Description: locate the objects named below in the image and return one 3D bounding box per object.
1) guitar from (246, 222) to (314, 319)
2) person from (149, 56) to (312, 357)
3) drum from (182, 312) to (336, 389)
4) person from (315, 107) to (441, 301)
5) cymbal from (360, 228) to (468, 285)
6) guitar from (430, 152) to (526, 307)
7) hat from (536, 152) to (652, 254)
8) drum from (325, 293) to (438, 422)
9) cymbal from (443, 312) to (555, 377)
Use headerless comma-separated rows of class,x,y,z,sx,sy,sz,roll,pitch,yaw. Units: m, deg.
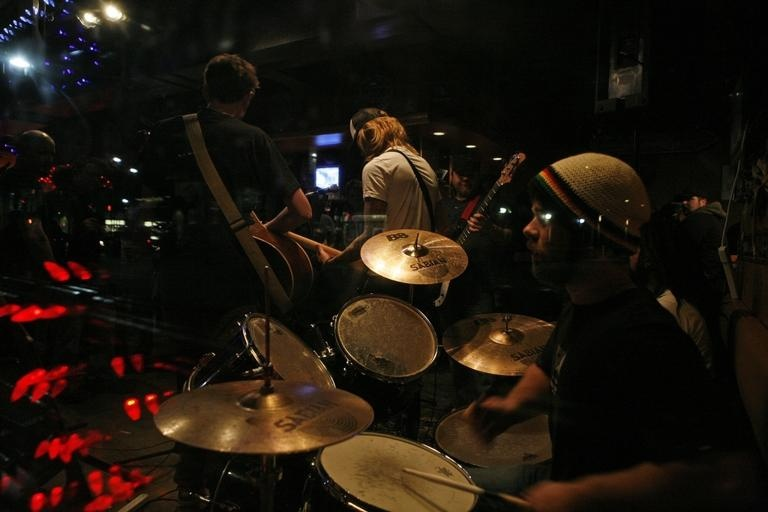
guitar,-0.556,0.083,3.644,0.141,0.494,0.287,-39,-2,-7
person,-0.914,-0.348,3.632,0.669,1.534,0.642,8,14,41
drum,-0.574,0.468,3.123,0.561,0.363,0.627,4,11,27
person,0.019,-0.401,4.278,0.730,1.132,0.659,-16,23,-22
cymbal,0.175,-0.001,3.727,0.618,0.283,0.304,-1,10,-3
guitar,0.616,-0.242,4.587,0.162,1.181,0.378,17,27,-39
hat,0.766,-0.204,2.409,0.418,0.354,0.139,2,11,17
drum,-0.011,0.641,3.655,0.650,0.602,0.609,12,51,-16
cymbal,0.663,0.419,3.592,0.636,0.154,0.608,-9,25,-7
